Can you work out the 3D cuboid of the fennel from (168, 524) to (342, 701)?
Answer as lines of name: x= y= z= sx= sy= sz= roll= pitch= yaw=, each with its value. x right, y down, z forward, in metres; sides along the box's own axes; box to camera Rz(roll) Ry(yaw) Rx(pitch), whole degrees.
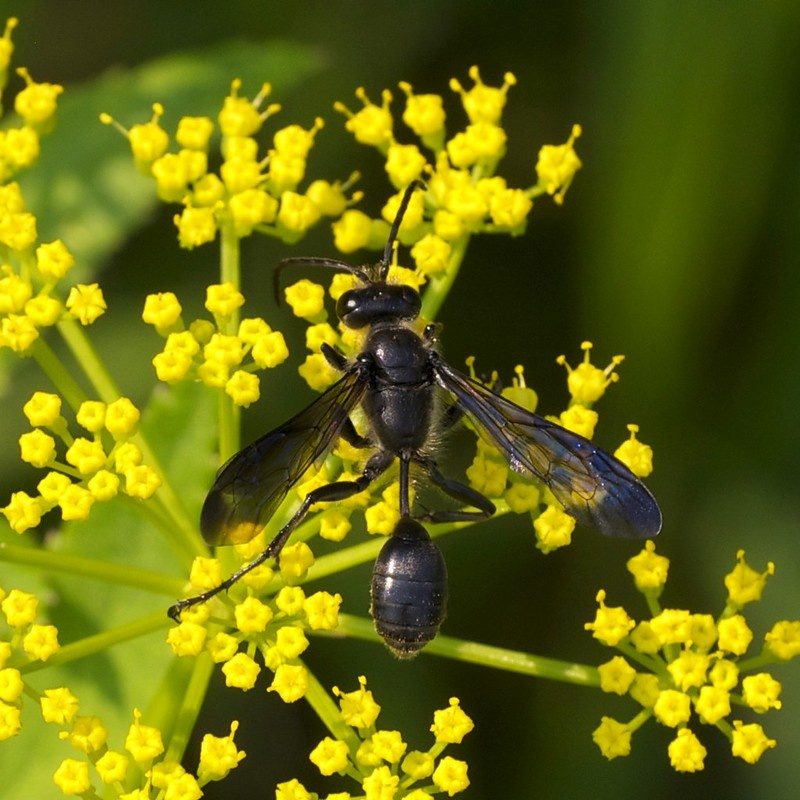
fennel: x=-0.482 y=0.777 z=3.469 sx=0.478 sy=0.244 sz=0.426 roll=20 pitch=62 yaw=14

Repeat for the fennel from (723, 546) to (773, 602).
fennel: x=1.287 y=0.673 z=3.681 sx=0.090 sy=0.224 sz=0.165 roll=-37 pitch=21 yaw=24

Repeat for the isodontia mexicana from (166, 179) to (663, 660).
isodontia mexicana: x=0.202 y=0.258 z=3.499 sx=1.382 sy=0.534 sz=1.463 roll=19 pitch=62 yaw=13

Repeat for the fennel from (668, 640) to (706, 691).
fennel: x=1.002 y=0.923 z=3.479 sx=0.138 sy=0.045 sz=0.144 roll=8 pitch=79 yaw=11

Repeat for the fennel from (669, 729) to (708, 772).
fennel: x=1.001 y=1.233 z=3.528 sx=0.112 sy=0.182 sz=0.130 roll=-11 pitch=59 yaw=-4

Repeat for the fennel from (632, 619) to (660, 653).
fennel: x=0.871 y=0.840 z=3.571 sx=0.105 sy=0.032 sz=0.102 roll=-6 pitch=76 yaw=5

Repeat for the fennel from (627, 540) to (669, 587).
fennel: x=0.937 y=0.614 z=3.792 sx=0.159 sy=0.185 sz=0.151 roll=15 pitch=56 yaw=18

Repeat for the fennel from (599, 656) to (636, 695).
fennel: x=0.762 y=0.964 z=3.517 sx=0.129 sy=0.050 sz=0.128 roll=-22 pitch=81 yaw=-19

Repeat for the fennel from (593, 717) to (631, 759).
fennel: x=0.773 y=1.208 z=3.616 sx=0.156 sy=0.056 sz=0.151 roll=13 pitch=102 yaw=23

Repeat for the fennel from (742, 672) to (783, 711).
fennel: x=1.272 y=1.038 z=3.531 sx=0.137 sy=0.058 sz=0.133 roll=-9 pitch=66 yaw=-4

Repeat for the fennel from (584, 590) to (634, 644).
fennel: x=0.754 y=0.767 z=3.625 sx=0.190 sy=0.077 sz=0.198 roll=-6 pitch=81 yaw=11
